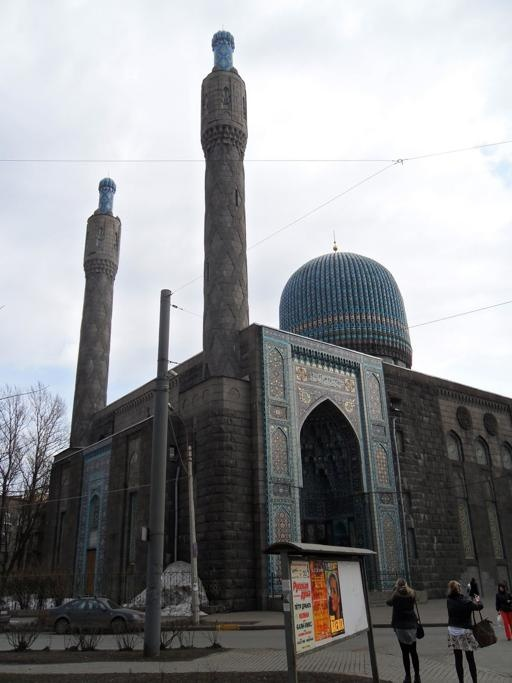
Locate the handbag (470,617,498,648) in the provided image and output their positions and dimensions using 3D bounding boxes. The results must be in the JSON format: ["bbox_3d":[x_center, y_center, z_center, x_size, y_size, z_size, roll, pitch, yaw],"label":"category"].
[{"bbox_3d":[2.150,2.751,5.124,0.175,0.232,0.286,-20,-29,33],"label":"handbag"}]

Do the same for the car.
[{"bbox_3d":[-3.949,6.839,13.607,1.822,0.837,3.772,11,-29,-29],"label":"car"}]
